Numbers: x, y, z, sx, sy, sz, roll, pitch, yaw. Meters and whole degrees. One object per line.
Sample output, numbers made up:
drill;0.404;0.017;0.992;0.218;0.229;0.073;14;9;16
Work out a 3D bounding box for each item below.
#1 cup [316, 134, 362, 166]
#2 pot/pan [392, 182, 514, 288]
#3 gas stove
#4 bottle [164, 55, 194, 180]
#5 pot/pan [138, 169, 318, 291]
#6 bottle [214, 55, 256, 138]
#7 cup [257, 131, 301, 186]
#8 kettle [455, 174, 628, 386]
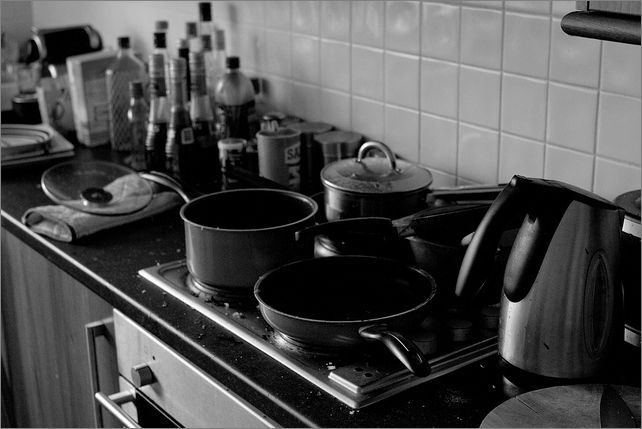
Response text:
cup;0.057;-0.157;1.683;0.117;0.120;0.113;-4;13;1
pot/pan;0.279;0.049;1.102;0.229;0.093;0.161;-4;23;32
gas stove;-0.038;0.215;1.108;0.690;0.060;0.280;10;23;26
bottle;-0.411;-0.265;1.650;0.088;0.338;0.197;-3;21;-6
pot/pan;-0.253;0.010;1.306;0.235;0.139;0.434;-18;30;-41
bottle;-0.259;-0.346;1.775;0.127;0.258;0.197;-6;22;-15
cup;-0.121;-0.148;1.660;0.132;0.181;0.129;0;25;0
kettle;0.354;0.101;0.964;0.323;0.309;0.195;0;11;-28
